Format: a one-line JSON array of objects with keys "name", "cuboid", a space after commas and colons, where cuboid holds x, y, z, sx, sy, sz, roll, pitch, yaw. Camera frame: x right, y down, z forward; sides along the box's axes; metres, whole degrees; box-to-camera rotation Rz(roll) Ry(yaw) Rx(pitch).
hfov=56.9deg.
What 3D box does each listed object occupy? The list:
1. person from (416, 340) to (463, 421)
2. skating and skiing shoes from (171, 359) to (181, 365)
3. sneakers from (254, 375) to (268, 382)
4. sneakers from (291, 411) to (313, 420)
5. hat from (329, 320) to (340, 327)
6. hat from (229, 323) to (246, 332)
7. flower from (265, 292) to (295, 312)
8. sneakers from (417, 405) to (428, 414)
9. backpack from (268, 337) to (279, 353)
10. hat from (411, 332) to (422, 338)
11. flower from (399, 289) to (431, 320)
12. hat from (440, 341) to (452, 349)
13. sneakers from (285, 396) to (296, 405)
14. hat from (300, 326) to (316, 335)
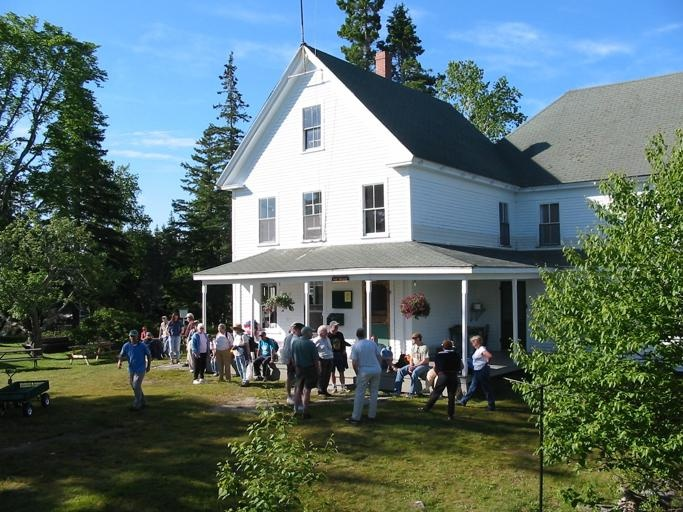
[{"name": "person", "cuboid": [2.571, 3.163, 16.396, 1.084, 1.911, 0.813, -2, -8, 34]}, {"name": "skating and skiing shoes", "cuboid": [-6.843, 4.300, 25.715, 0.222, 0.373, 0.250, -8, -10, 43]}, {"name": "sneakers", "cuboid": [-2.749, 4.114, 21.331, 0.447, 0.294, 0.150, -1, 1, 8]}, {"name": "sneakers", "cuboid": [-1.002, 4.022, 15.995, 0.530, 0.215, 0.177, -2, -1, 14]}, {"name": "hat", "cuboid": [-0.312, 2.025, 18.908, 0.324, 0.151, 0.469, 2, -5, -33]}, {"name": "hat", "cuboid": [-3.546, 2.374, 21.640, 0.461, 0.129, 0.449, 13, -26, 13]}, {"name": "flower", "cuboid": [-2.528, 1.802, 25.730, 1.195, 0.742, 1.615, 1, -7, -5]}, {"name": "sneakers", "cuboid": [2.131, 4.029, 16.628, 0.211, 0.106, 0.283, -5, -1, 5]}, {"name": "backpack", "cuboid": [-2.402, 3.148, 21.960, 0.241, 0.314, 0.720, -13, -33, 2]}, {"name": "hat", "cuboid": [2.087, 2.215, 17.663, 0.336, 0.115, 0.356, 0, -6, 0]}, {"name": "flower", "cuboid": [2.495, 1.656, 21.264, 0.896, 0.737, 0.903, 1, -2, 15]}, {"name": "hat", "cuboid": [2.713, 2.298, 16.394, 0.248, 0.279, 0.303, 6, 14, 5]}, {"name": "sneakers", "cuboid": [-1.448, 3.978, 17.401, 0.153, 0.172, 0.411, 3, -14, -29]}, {"name": "hat", "cuboid": [-0.882, 1.927, 16.382, 0.286, 0.278, 0.243, -22, 17, -33]}]
